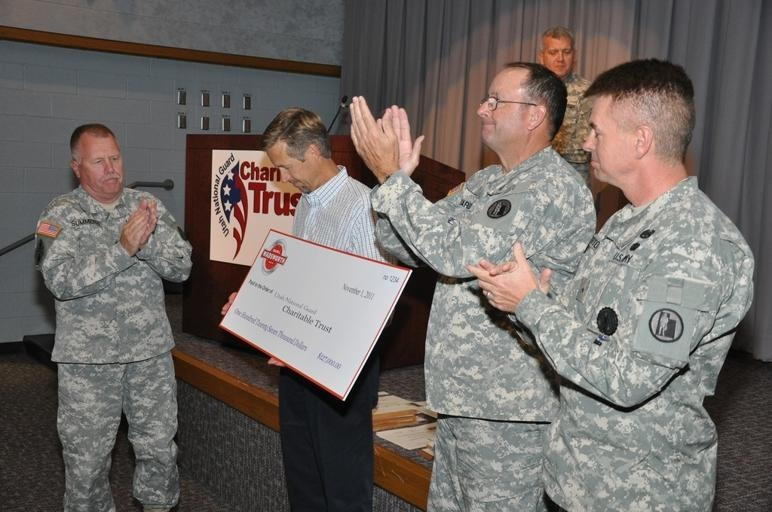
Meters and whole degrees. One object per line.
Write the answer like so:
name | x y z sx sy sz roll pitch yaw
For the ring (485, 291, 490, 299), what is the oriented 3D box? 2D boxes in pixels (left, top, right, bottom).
ring | 0.354 0.135 2.220 0.016 0.022 0.008 2 51 38
